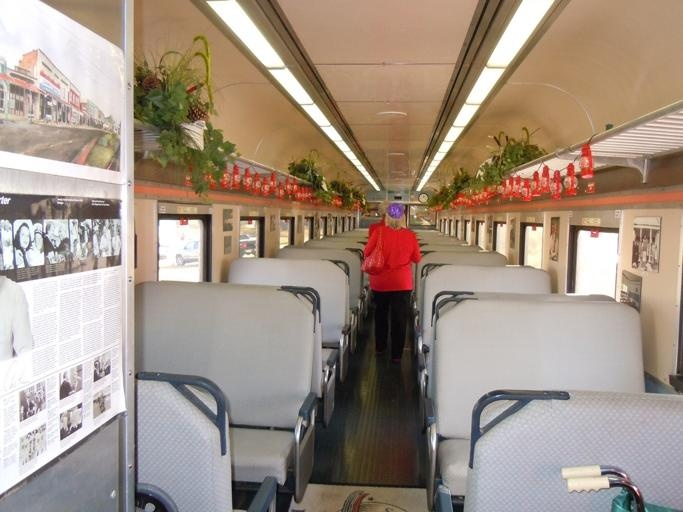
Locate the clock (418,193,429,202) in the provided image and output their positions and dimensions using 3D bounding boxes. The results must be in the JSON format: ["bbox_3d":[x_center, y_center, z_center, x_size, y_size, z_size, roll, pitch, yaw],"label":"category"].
[{"bbox_3d":[4.958,-3.546,28.761,0.703,0.578,0.249,-1,5,-25],"label":"clock"}]

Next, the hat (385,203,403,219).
[{"bbox_3d":[0.788,-0.653,6.851,0.226,0.225,0.310,2,5,8],"label":"hat"}]
